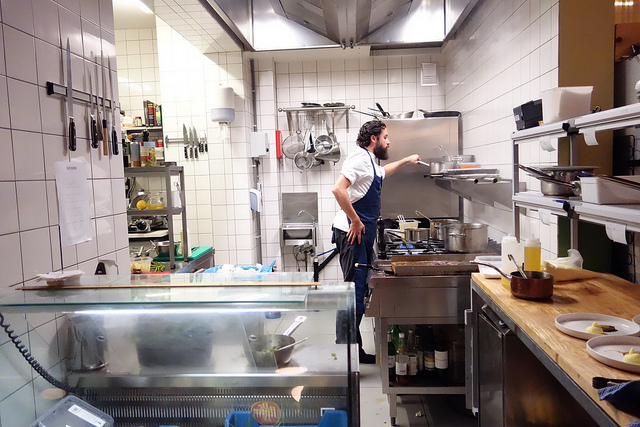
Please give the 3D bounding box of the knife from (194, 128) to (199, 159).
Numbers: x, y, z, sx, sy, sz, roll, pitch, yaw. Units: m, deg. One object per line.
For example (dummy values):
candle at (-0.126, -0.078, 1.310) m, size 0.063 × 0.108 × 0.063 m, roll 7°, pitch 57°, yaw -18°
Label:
knife at (-1.371, -0.753, 5.255) m, size 0.045 × 0.323 × 0.027 m, roll 1°, pitch 7°, yaw -4°

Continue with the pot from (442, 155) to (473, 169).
pot at (1.278, -0.499, 4.458) m, size 0.213 × 0.148 × 0.214 m, roll 0°, pitch 4°, yaw 0°

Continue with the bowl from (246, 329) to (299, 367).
bowl at (-0.228, 0.595, 2.155) m, size 0.179 × 0.114 × 0.328 m, roll 0°, pitch -1°, yaw -5°

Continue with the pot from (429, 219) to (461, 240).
pot at (1.024, 0.139, 4.048) m, size 0.177 × 0.124 × 0.188 m, roll 0°, pitch -1°, yaw 0°

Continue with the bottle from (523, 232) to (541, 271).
bottle at (1.157, 0.228, 2.604) m, size 0.092 × 0.181 × 0.125 m, roll 5°, pitch 13°, yaw 22°

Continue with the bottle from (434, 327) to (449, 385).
bottle at (0.867, 0.985, 3.417) m, size 0.108 × 0.327 × 0.192 m, roll 2°, pitch 12°, yaw 13°

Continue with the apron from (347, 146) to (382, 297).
apron at (0.362, 0.057, 4.067) m, size 0.258 × 1.188 × 0.614 m, roll 2°, pitch 12°, yaw 12°

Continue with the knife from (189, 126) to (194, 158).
knife at (-1.423, -0.756, 5.268) m, size 0.034 × 0.304 × 0.057 m, roll -3°, pitch 12°, yaw -14°

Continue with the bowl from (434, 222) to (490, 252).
bowl at (1.099, 0.173, 3.645) m, size 0.355 × 0.167 × 0.381 m, roll -4°, pitch 11°, yaw 1°

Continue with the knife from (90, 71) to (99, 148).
knife at (-1.347, -0.594, 2.818) m, size 0.034 × 0.420 × 0.080 m, roll -5°, pitch 13°, yaw -24°

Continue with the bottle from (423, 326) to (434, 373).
bottle at (0.790, 0.979, 3.472) m, size 0.076 × 0.287 × 0.151 m, roll 2°, pitch 12°, yaw 13°

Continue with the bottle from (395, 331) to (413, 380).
bottle at (0.599, 0.995, 3.440) m, size 0.126 × 0.298 × 0.273 m, roll 1°, pitch 12°, yaw 8°

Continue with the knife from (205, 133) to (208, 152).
knife at (-1.264, -0.754, 5.265) m, size 0.026 × 0.174 × 0.040 m, roll -7°, pitch 13°, yaw -30°

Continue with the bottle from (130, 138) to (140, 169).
bottle at (-1.612, -0.499, 4.141) m, size 0.083 × 0.206 × 0.195 m, roll -5°, pitch 13°, yaw -23°

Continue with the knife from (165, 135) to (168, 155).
knife at (-1.718, -0.757, 5.339) m, size 0.030 × 0.178 × 0.014 m, roll -3°, pitch 12°, yaw -14°

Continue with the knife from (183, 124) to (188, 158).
knife at (-1.476, -0.773, 5.213) m, size 0.046 × 0.318 × 0.026 m, roll 0°, pitch 9°, yaw -4°

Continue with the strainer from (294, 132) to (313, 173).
strainer at (-0.200, -0.698, 5.622) m, size 0.217 × 0.469 × 0.116 m, roll 0°, pitch 12°, yaw 3°
